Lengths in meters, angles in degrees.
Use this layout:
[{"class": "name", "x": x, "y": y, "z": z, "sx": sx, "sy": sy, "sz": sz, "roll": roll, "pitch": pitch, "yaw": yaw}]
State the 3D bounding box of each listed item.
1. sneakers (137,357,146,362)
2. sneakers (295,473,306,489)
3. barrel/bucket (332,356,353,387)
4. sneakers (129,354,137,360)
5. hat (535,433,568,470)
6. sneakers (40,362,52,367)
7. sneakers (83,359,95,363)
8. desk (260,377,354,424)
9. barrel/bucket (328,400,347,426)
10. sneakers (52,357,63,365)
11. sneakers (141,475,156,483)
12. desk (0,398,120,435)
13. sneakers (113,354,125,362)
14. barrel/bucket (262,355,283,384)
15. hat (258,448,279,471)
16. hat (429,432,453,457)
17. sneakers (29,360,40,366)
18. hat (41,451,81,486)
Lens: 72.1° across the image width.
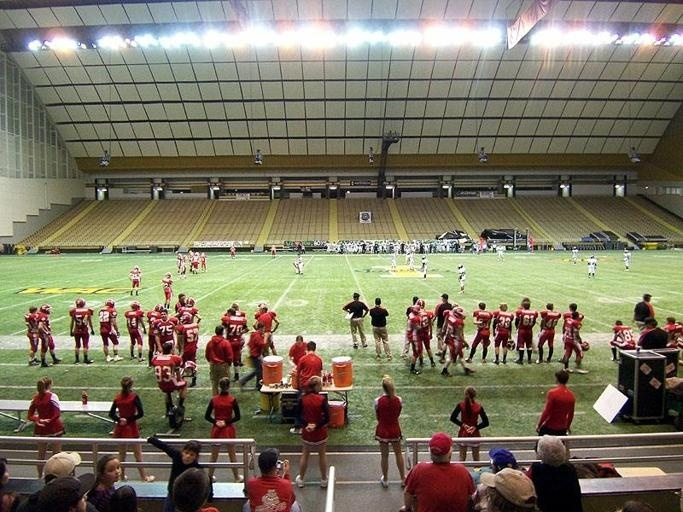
[{"class": "sneakers", "x": -6.428, "y": 3.326, "z": 15.122, "sx": 0.106, "sy": 0.074, "sz": 0.200, "roll": 4, "pitch": 7, "yaw": 25}, {"class": "sneakers", "x": -0.800, "y": 4.261, "z": 8.931, "sx": 0.198, "sy": 0.233, "sz": 0.225, "roll": -2, "pitch": -14, "yaw": 5}, {"class": "barrel/bucket", "x": 0.015, "y": 2.756, "z": 11.146, "sx": 0.461, "sy": 0.694, "sz": 0.500, "roll": -1, "pitch": -14, "yaw": 0}, {"class": "sneakers", "x": -6.764, "y": 3.274, "z": 15.292, "sx": 0.109, "sy": 0.087, "sz": 0.256, "roll": 2, "pitch": 7, "yaw": 4}, {"class": "hat", "x": 3.063, "y": 2.835, "z": 6.834, "sx": 0.363, "sy": 0.416, "sz": 0.283, "roll": -5, "pitch": -15, "yaw": 14}, {"class": "sneakers", "x": -9.195, "y": 3.335, "z": 14.618, "sx": 0.288, "sy": 0.212, "sz": 0.115, "roll": 2, "pitch": 3, "yaw": -13}, {"class": "sneakers", "x": -7.993, "y": 3.328, "z": 14.858, "sx": 0.306, "sy": 0.179, "sz": 0.098, "roll": -2, "pitch": 5, "yaw": -7}, {"class": "desk", "x": -1.034, "y": 3.399, "z": 11.236, "sx": 1.374, "sy": 0.390, "sz": 1.873, "roll": 1, "pitch": 1, "yaw": 4}, {"class": "barrel/bucket", "x": -0.092, "y": 3.711, "z": 11.066, "sx": 0.381, "sy": 0.598, "sz": 0.440, "roll": -1, "pitch": -14, "yaw": 1}, {"class": "sneakers", "x": -8.981, "y": 3.303, "z": 14.808, "sx": 0.357, "sy": 0.194, "sz": 0.113, "roll": -1, "pitch": 8, "yaw": -22}, {"class": "sneakers", "x": -3.760, "y": 4.320, "z": 9.139, "sx": 0.138, "sy": 0.124, "sz": 0.356, "roll": 5, "pitch": -1, "yaw": -4}, {"class": "desk", "x": -6.775, "y": 3.735, "z": 11.037, "sx": 3.672, "sy": 0.712, "sz": 1.593, "roll": -6, "pitch": -13, "yaw": 22}, {"class": "sneakers", "x": -7.248, "y": 3.291, "z": 15.188, "sx": 0.408, "sy": 0.228, "sz": 0.128, "roll": -3, "pitch": 12, "yaw": -7}, {"class": "barrel/bucket", "x": -1.687, "y": 2.796, "z": 11.616, "sx": 0.719, "sy": 0.522, "sz": 0.627, "roll": 1, "pitch": 0, "yaw": 2}, {"class": "hat", "x": -1.043, "y": 2.970, "z": 6.933, "sx": 0.311, "sy": 0.350, "sz": 0.190, "roll": -1, "pitch": -46, "yaw": 9}, {"class": "hat", "x": 1.482, "y": 2.768, "z": 6.964, "sx": 0.286, "sy": 0.133, "sz": 0.351, "roll": -4, "pitch": 33, "yaw": 13}, {"class": "sneakers", "x": -9.599, "y": 3.337, "z": 14.703, "sx": 0.376, "sy": 0.162, "sz": 0.255, "roll": -5, "pitch": -13, "yaw": 20}, {"class": "hat", "x": -4.008, "y": 2.936, "z": 6.686, "sx": 0.391, "sy": 0.239, "sz": 0.489, "roll": 3, "pitch": 14, "yaw": -3}]
